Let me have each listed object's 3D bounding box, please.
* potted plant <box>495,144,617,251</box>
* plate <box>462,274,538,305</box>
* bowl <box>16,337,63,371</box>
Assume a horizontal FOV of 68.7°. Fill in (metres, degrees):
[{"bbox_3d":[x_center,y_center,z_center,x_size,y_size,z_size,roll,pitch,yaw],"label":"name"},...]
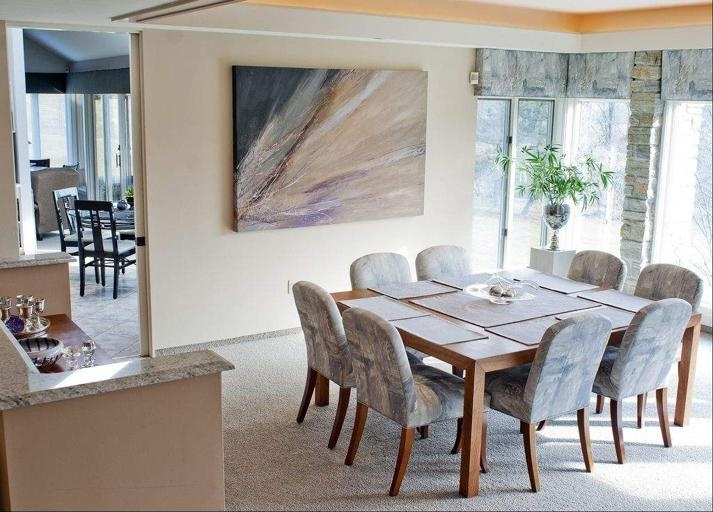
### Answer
[{"bbox_3d":[2.364,-0.766,6.343,1.414,1.189,1.318,-4,8,-30],"label":"potted plant"},{"bbox_3d":[1.154,0.258,4.127,0.307,0.105,0.299,-3,14,-15],"label":"plate"},{"bbox_3d":[-1.798,0.533,3.008,0.254,0.102,0.260,4,7,-1],"label":"bowl"}]
